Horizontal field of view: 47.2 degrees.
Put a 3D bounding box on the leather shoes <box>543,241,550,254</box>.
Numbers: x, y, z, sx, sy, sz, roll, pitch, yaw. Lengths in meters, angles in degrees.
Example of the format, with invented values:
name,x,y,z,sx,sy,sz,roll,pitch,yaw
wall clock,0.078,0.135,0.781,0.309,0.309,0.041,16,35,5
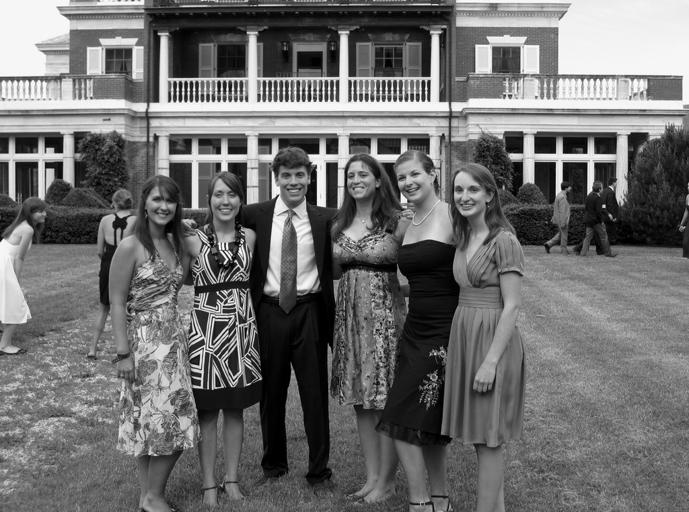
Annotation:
name,x,y,z,sx,sy,sz,roll,pitch,yaw
leather shoes,4.919,-0.219,19.276,0.103,0.173,0.382,-2,-42,10

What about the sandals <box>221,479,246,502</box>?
name,x,y,z,sx,sy,sz,roll,pitch,yaw
sandals,-1.099,2.322,7.880,0.108,0.162,0.324,-1,-5,-31

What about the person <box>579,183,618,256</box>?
name,x,y,z,sx,sy,sz,roll,pitch,yaw
person,6.033,-0.907,18.819,0.766,1.729,1.129,3,7,21

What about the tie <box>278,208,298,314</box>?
name,x,y,z,sx,sy,sz,roll,pitch,yaw
tie,-0.572,0.036,8.072,0.178,1.023,0.227,1,6,-3

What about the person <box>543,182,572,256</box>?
name,x,y,z,sx,sy,sz,roll,pitch,yaw
person,5.363,-0.988,19.864,0.508,1.811,2.264,2,8,16

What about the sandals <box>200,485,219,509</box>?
name,x,y,z,sx,sy,sz,roll,pitch,yaw
sandals,-1.317,2.322,7.798,0.159,0.191,0.327,0,8,-8
